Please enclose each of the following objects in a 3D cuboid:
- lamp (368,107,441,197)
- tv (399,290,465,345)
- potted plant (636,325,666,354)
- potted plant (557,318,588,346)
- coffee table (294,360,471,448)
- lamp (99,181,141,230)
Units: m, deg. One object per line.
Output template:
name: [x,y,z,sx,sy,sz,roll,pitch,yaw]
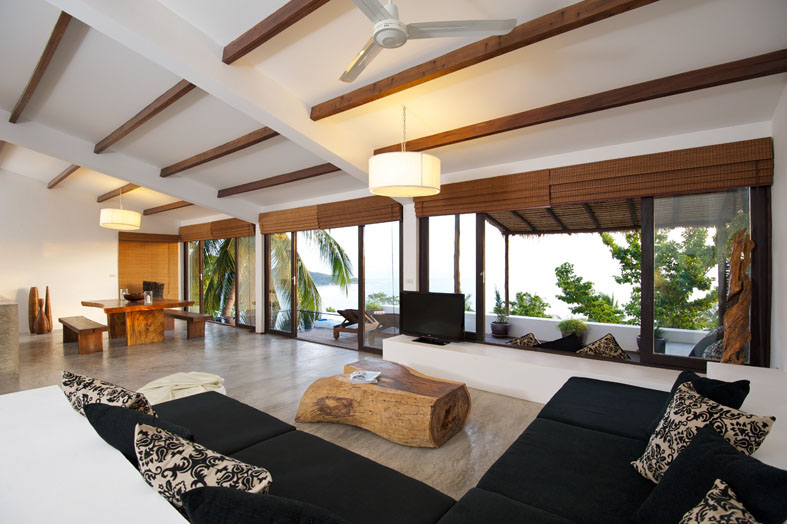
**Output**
lamp: [0.121,-1.064,5.251,0.638,0.658,0.606,0,-2,0]
tv: [0.555,0.780,6.601,0.744,0.496,0.193,2,4,37]
potted plant: [3.109,0.935,5.745,0.331,0.334,0.401,1,-3,10]
potted plant: [2.894,1.064,7.580,0.483,0.462,0.485,-1,-2,41]
coffee table: [-0.075,1.463,4.991,1.201,0.315,0.932,1,3,32]
lamp: [-4.854,-0.994,8.426,0.874,0.669,0.842,1,10,-10]
